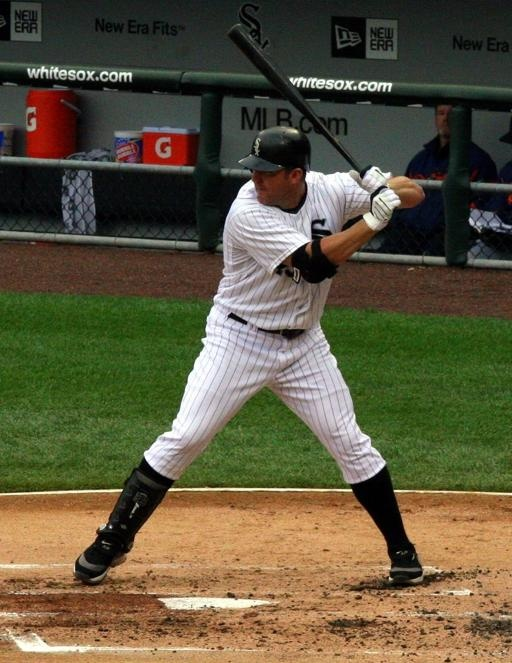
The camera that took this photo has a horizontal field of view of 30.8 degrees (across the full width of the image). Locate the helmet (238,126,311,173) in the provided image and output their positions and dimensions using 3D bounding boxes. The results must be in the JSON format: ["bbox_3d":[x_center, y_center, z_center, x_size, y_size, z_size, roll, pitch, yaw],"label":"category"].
[{"bbox_3d":[0.054,-0.549,2.749,0.232,0.099,0.174,-18,37,-36],"label":"helmet"}]

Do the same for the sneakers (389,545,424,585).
[{"bbox_3d":[0.461,0.731,2.866,0.071,0.060,0.159,1,5,10],"label":"sneakers"}]

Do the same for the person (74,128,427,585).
[{"bbox_3d":[0.000,0.094,2.843,1.018,1.426,0.498,0,7,4],"label":"person"}]

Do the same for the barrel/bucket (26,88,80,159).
[{"bbox_3d":[-1.686,-1.751,7.844,0.453,0.577,0.411,-3,7,-18],"label":"barrel/bucket"}]
